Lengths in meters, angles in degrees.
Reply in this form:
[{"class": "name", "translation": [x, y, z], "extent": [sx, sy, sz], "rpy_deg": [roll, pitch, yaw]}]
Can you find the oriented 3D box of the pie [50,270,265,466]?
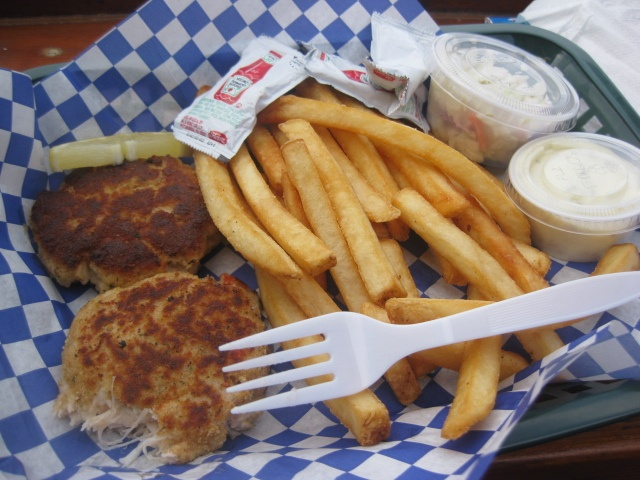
[{"class": "pie", "translation": [-0.836, 0.651, 3.444], "extent": [0.991, 0.265, 0.961], "rpy_deg": [-27, 76, -17]}]
